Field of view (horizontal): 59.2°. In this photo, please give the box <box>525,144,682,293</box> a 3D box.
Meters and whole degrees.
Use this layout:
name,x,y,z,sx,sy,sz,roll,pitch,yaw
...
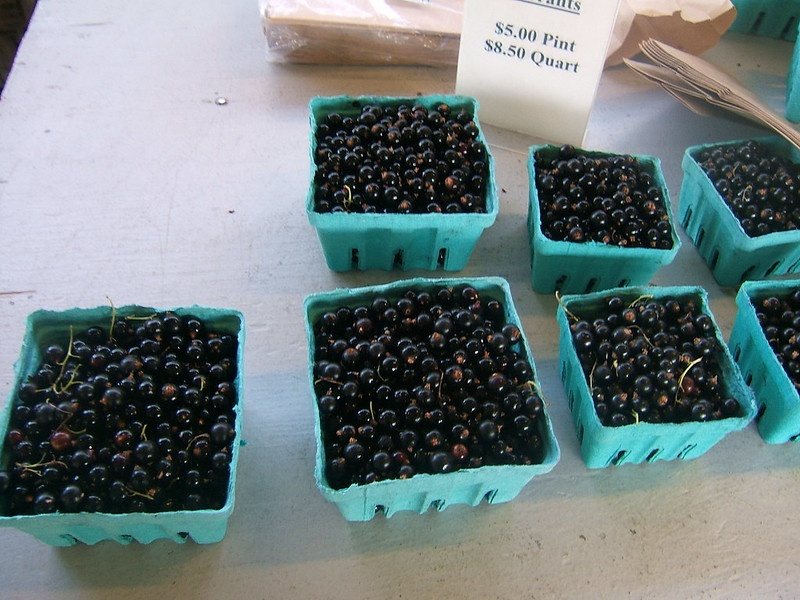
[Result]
name,x,y,z,sx,sy,sz,roll,pitch,yaw
box,0.654,-0.182,2.542,0.485,0.246,0.448,3,30,-8

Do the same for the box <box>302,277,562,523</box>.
name,x,y,z,sx,sy,sz,roll,pitch,yaw
box,0.071,0.280,2.146,0.680,0.334,0.639,-5,54,-8

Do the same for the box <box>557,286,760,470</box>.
name,x,y,z,sx,sy,sz,roll,pitch,yaw
box,0.721,0.348,2.268,0.495,0.316,0.622,-6,64,-6
